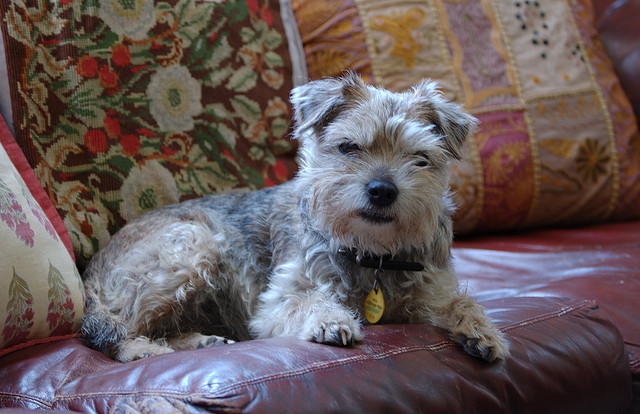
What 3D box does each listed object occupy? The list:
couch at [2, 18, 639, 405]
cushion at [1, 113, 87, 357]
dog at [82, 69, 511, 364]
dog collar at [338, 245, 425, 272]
[{"bbox_3d":[0.089,0.436,4.973,3.662,2.412,1.735,1,-19,-7],"label":"couch"},{"bbox_3d":[-1.449,0.129,2.981,0.399,1.128,0.451,3,2,11],"label":"cushion"},{"bbox_3d":[-0.138,0.074,3.608,2.450,1.655,1.725,0,-5,3],"label":"dog"},{"bbox_3d":[0.332,0.282,3.215,0.453,0.171,0.105,-5,5,0],"label":"dog collar"}]
